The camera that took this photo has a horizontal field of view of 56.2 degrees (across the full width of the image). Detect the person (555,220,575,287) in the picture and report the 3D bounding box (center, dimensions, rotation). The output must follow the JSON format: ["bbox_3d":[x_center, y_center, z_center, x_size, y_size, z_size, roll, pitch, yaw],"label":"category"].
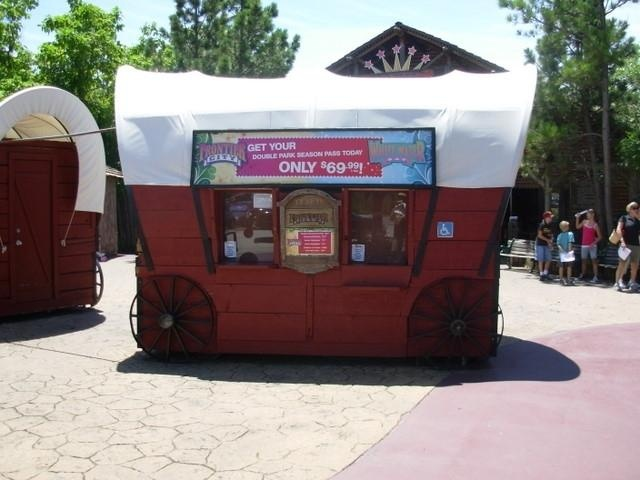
[{"bbox_3d":[5.603,0.261,13.703,0.367,1.441,1.491,4,10,22],"label":"person"}]

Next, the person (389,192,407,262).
[{"bbox_3d":[0.986,-0.169,7.641,0.186,0.885,0.114,2,9,13],"label":"person"}]
